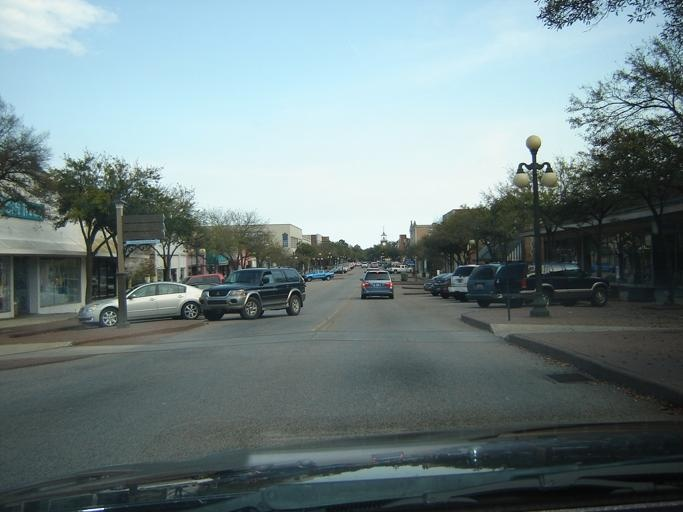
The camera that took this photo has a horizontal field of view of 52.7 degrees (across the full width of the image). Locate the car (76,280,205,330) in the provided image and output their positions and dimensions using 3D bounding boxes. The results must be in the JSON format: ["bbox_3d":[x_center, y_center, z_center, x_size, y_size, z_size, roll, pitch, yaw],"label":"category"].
[{"bbox_3d":[-6.834,1.657,24.272,4.203,1.471,0.997,3,-4,-43],"label":"car"}]

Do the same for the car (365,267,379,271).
[{"bbox_3d":[4.072,1.646,92.104,1.457,0.670,2.428,0,-4,5],"label":"car"}]

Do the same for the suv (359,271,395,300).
[{"bbox_3d":[2.070,1.761,40.850,1.497,1.308,2.836,0,-5,4],"label":"suv"}]

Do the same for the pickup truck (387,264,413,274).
[{"bbox_3d":[9.781,2.344,110.261,3.212,1.140,1.570,-3,3,2],"label":"pickup truck"}]

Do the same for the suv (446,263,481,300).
[{"bbox_3d":[5.904,1.214,34.137,1.001,0.997,1.900,1,6,26],"label":"suv"}]

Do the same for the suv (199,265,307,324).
[{"bbox_3d":[-3.276,1.465,25.565,1.784,1.518,3.320,-5,-8,36],"label":"suv"}]
